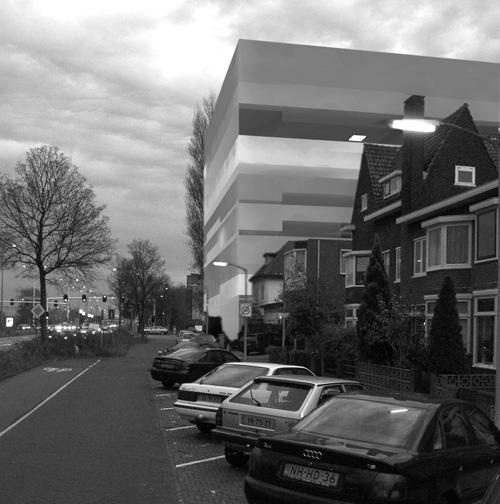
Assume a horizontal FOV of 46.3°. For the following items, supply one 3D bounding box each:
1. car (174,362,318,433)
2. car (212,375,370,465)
[{"bbox_3d":[-0.036,2.832,11.294,2.608,1.055,1.248,1,-2,-40],"label":"car"},{"bbox_3d":[0.600,2.079,8.295,1.828,0.940,1.137,2,-4,-39],"label":"car"}]
